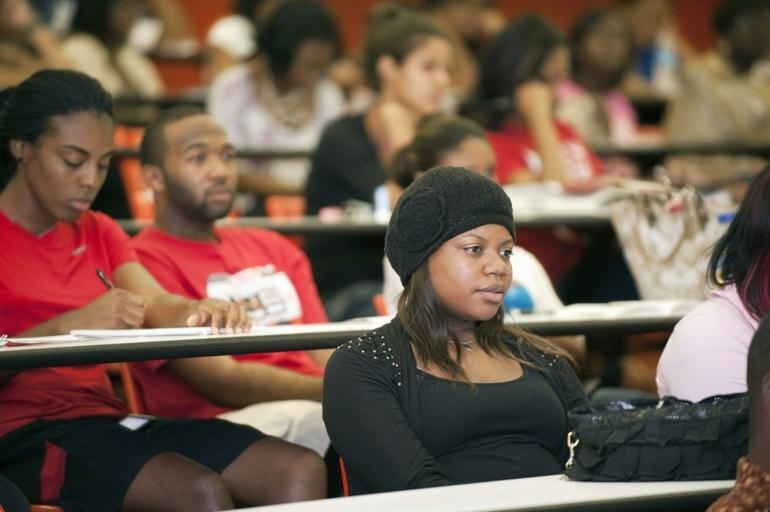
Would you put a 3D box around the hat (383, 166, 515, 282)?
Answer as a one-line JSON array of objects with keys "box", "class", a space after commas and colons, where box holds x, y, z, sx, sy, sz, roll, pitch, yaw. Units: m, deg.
[{"box": [0.211, -0.075, 3.522, 0.367, 0.295, 0.316, -16, -9, 24], "class": "hat"}]

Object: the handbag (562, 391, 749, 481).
[{"box": [0.788, 0.525, 3.160, 0.391, 0.131, 0.290, -3, -8, 3], "class": "handbag"}]

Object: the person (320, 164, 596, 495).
[{"box": [0.220, 0.226, 3.340, 0.808, 0.958, 0.476, 0, 12, 4], "class": "person"}]
